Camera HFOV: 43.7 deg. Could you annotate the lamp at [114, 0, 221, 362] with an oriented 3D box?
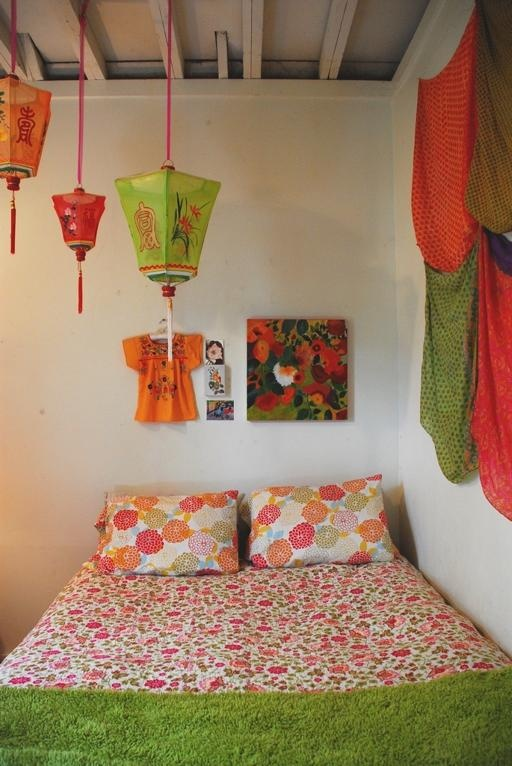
[{"bbox_3d":[-0.343,-0.801,2.277,0.314,1.447,0.875,-1,1,-12],"label":"lamp"}]
